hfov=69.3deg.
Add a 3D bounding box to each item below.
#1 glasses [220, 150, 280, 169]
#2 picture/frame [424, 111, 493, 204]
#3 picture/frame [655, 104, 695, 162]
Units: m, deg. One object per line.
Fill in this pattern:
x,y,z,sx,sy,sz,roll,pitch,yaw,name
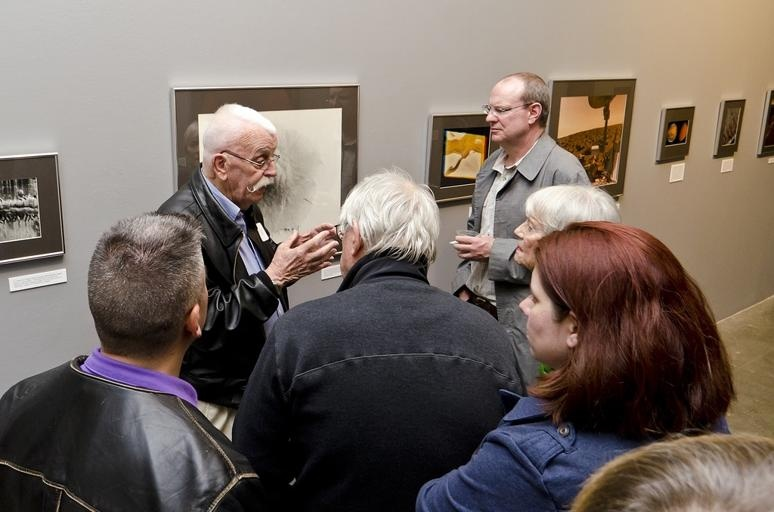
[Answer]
-0.813,-0.581,3.255,0.190,0.059,0.197,26,19,14,glasses
0.575,-0.832,4.632,0.813,0.888,0.063,-9,14,-29,picture/frame
3.203,-1.397,6.266,0.058,0.606,0.563,15,20,42,picture/frame
